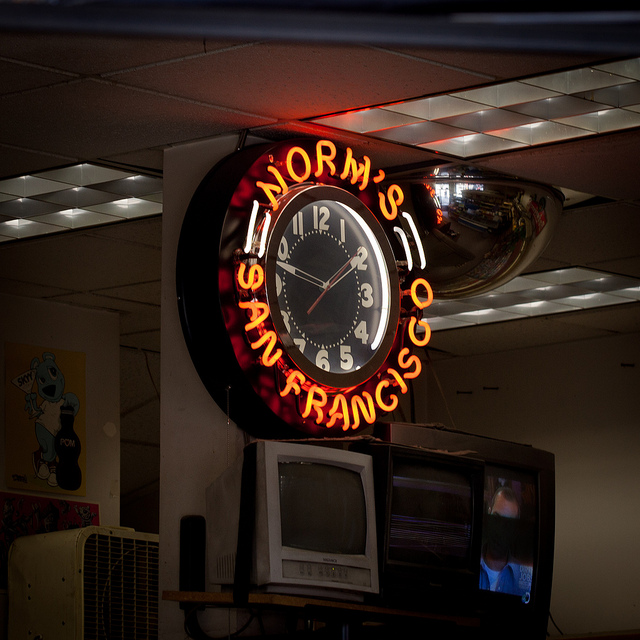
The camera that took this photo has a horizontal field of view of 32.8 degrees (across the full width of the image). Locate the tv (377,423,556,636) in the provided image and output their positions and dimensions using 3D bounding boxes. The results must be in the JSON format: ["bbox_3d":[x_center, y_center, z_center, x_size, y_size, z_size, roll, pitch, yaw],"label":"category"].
[{"bbox_3d":[0.483,0.723,3.662,0.676,0.647,0.380,18,-22,-41],"label":"tv"}]

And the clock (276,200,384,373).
[{"bbox_3d":[0.021,-0.110,4.186,0.095,0.702,0.591,-18,-19,42],"label":"clock"}]

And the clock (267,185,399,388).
[{"bbox_3d":[0.031,-0.106,4.183,0.086,0.839,0.707,-18,-18,39],"label":"clock"}]

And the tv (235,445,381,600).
[{"bbox_3d":[-0.044,0.672,3.270,0.401,0.460,0.452,13,-34,-21],"label":"tv"}]

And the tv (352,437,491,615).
[{"bbox_3d":[0.415,0.682,3.453,0.423,0.473,0.351,0,-10,42],"label":"tv"}]

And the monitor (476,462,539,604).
[{"bbox_3d":[0.705,0.802,4.088,0.104,0.500,0.435,-6,-16,29],"label":"monitor"}]
